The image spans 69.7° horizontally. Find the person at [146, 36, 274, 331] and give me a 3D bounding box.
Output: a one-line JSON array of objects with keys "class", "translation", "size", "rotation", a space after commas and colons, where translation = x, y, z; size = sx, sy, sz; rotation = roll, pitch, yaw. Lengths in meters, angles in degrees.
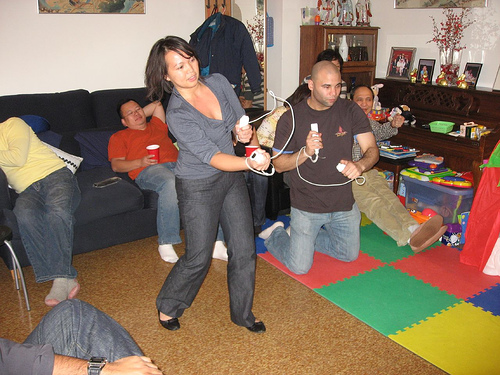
[{"class": "person", "translation": [-0.297, 0.055, 2.160], "size": [0.677, 1.752, 0.643], "rotation": [-8, 24, -18]}]

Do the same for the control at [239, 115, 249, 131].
[{"class": "control", "translation": [-0.050, -0.367, 2.024], "size": [0.055, 0.101, 0.055], "rotation": [-2, 18, -18]}]

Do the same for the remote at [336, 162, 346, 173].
[{"class": "remote", "translation": [0.590, -0.132, 2.342], "size": [0.051, 0.073, 0.101], "rotation": [4, 24, 9]}]

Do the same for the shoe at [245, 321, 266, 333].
[{"class": "shoe", "translation": [0.046, 0.883, 2.301], "size": [0.056, 0.029, 0.105], "rotation": [-13, 9, -44]}]

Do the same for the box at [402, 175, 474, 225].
[{"class": "box", "translation": [1.834, 0.090, 3.637], "size": [0.389, 0.358, 0.573], "rotation": [-10, 20, -31]}]

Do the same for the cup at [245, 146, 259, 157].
[{"class": "cup", "translation": [0.011, -0.225, 2.228], "size": [0.068, 0.050, 0.068], "rotation": [0, 15, 0]}]

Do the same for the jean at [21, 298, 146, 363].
[{"class": "jean", "translation": [-0.763, 0.708, 1.731], "size": [0.489, 0.638, 0.250], "rotation": [13, 63, -6]}]

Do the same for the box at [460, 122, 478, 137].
[{"class": "box", "translation": [2.240, -0.586, 3.678], "size": [0.143, 0.140, 0.078], "rotation": [-18, 31, -21]}]

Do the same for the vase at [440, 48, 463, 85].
[{"class": "vase", "translation": [2.375, -1.373, 4.302], "size": [0.282, 0.463, 0.282], "rotation": [5, -14, 29]}]

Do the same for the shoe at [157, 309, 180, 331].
[{"class": "shoe", "translation": [-0.556, 0.879, 2.397], "size": [0.186, 0.046, 0.081], "rotation": [34, 36, 24]}]

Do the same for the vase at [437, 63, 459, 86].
[{"class": "vase", "translation": [2.309, -1.292, 4.175], "size": [0.227, 0.262, 0.242], "rotation": [6, 18, 39]}]

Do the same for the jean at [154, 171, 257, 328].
[{"class": "jean", "translation": [-0.285, 0.335, 2.272], "size": [0.685, 1.105, 0.372], "rotation": [3, 17, -1]}]

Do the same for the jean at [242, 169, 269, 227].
[{"class": "jean", "translation": [0.059, 0.138, 3.396], "size": [0.225, 0.182, 0.777], "rotation": [4, 36, -3]}]

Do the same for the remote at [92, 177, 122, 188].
[{"class": "remote", "translation": [-1.330, -0.047, 3.327], "size": [0.146, 0.020, 0.262], "rotation": [21, 31, 39]}]

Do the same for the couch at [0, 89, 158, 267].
[{"class": "couch", "translation": [-1.511, -0.040, 3.157], "size": [1.356, 0.929, 0.721], "rotation": [-16, 23, -36]}]

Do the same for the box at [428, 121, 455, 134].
[{"class": "box", "translation": [2.114, -0.666, 3.970], "size": [0.227, 0.097, 0.396], "rotation": [21, 31, 39]}]

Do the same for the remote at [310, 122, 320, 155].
[{"class": "remote", "translation": [0.417, -0.337, 2.291], "size": [0.067, 0.260, 0.062], "rotation": [2, -3, 2]}]

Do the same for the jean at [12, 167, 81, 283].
[{"class": "jean", "translation": [-1.608, 0.221, 2.896], "size": [0.498, 0.329, 1.021], "rotation": [-11, 52, -24]}]

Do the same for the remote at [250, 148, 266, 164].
[{"class": "remote", "translation": [0.030, -0.150, 1.885], "size": [0.081, 0.056, 0.080], "rotation": [-17, -23, 30]}]

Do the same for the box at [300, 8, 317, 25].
[{"class": "box", "translation": [0.802, -2.335, 4.961], "size": [0.226, 0.229, 0.207], "rotation": [-11, 19, -28]}]

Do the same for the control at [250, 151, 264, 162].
[{"class": "control", "translation": [0.029, -0.160, 1.853], "size": [0.072, 0.050, 0.031], "rotation": [10, 25, 21]}]

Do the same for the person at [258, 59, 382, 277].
[{"class": "person", "translation": [0.473, -0.066, 2.655], "size": [0.838, 1.603, 0.722], "rotation": [8, 24, 19]}]
